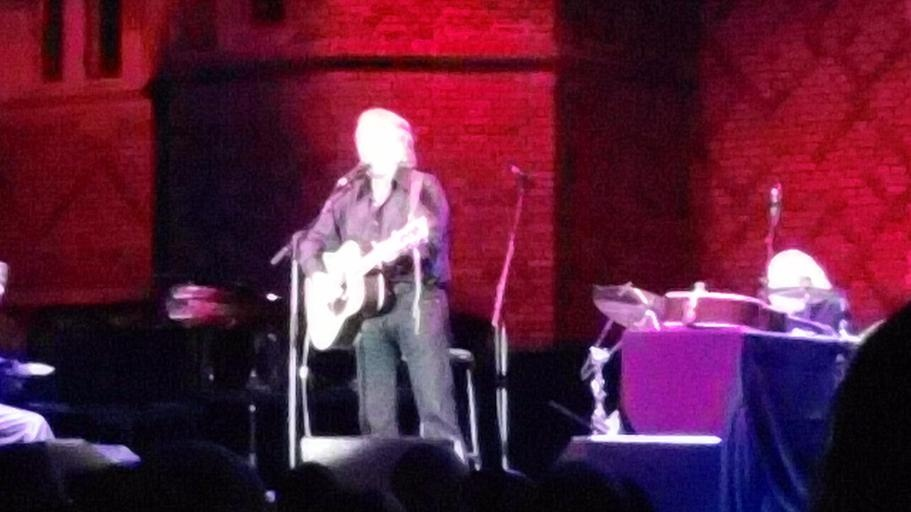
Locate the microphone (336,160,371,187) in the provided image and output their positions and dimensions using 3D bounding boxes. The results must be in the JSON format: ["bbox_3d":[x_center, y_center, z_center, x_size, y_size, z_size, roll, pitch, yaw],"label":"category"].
[{"bbox_3d":[-0.881,-0.680,9.474,0.336,0.177,0.087,-31,-57,15],"label":"microphone"}]

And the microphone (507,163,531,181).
[{"bbox_3d":[0.603,-0.776,10.112,0.145,0.045,0.191,14,18,-42],"label":"microphone"}]

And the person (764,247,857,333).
[{"bbox_3d":[2.938,0.293,9.064,0.605,0.778,0.353,16,-41,-40],"label":"person"}]

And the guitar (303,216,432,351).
[{"bbox_3d":[-0.860,0.321,9.174,0.851,0.917,0.117,-1,-7,12],"label":"guitar"}]

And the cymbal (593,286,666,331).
[{"bbox_3d":[1.383,0.409,8.621,0.532,0.369,0.260,-6,-9,40],"label":"cymbal"}]
